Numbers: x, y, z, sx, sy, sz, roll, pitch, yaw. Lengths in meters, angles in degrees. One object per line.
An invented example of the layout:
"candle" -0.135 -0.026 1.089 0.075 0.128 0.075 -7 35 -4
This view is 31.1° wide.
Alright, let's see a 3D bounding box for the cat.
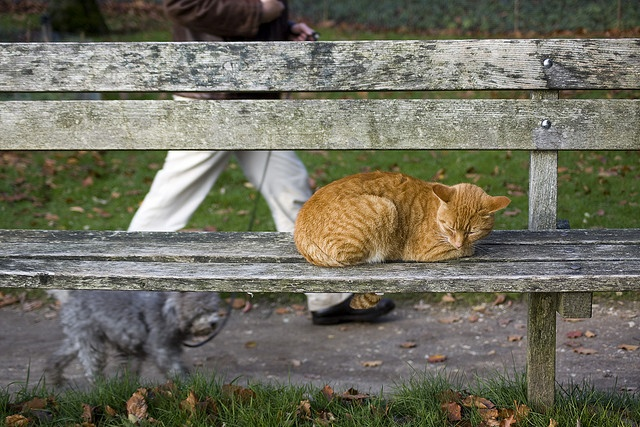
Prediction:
"cat" 0.607 0.042 9.522 1.653 0.668 0.642 -7 17 -6
